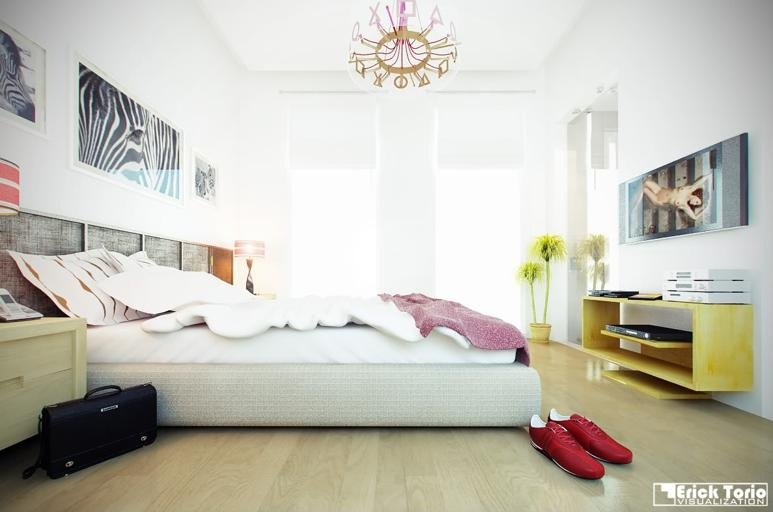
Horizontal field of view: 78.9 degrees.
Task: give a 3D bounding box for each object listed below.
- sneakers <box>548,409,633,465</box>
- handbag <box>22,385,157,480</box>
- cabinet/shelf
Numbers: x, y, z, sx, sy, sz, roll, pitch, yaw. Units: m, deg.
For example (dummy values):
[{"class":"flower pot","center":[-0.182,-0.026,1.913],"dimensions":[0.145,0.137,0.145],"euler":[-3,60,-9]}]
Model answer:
[{"class":"sneakers","center":[1.340,1.180,3.117],"dimensions":[0.209,0.209,0.560],"euler":[-5,3,-39]},{"class":"handbag","center":[-1.876,1.118,2.945],"dimensions":[0.521,0.371,0.198],"euler":[1,-11,-43]},{"class":"cabinet/shelf","center":[2.369,0.752,4.111],"dimensions":[0.535,0.806,1.308],"euler":[-2,-1,-17]}]
